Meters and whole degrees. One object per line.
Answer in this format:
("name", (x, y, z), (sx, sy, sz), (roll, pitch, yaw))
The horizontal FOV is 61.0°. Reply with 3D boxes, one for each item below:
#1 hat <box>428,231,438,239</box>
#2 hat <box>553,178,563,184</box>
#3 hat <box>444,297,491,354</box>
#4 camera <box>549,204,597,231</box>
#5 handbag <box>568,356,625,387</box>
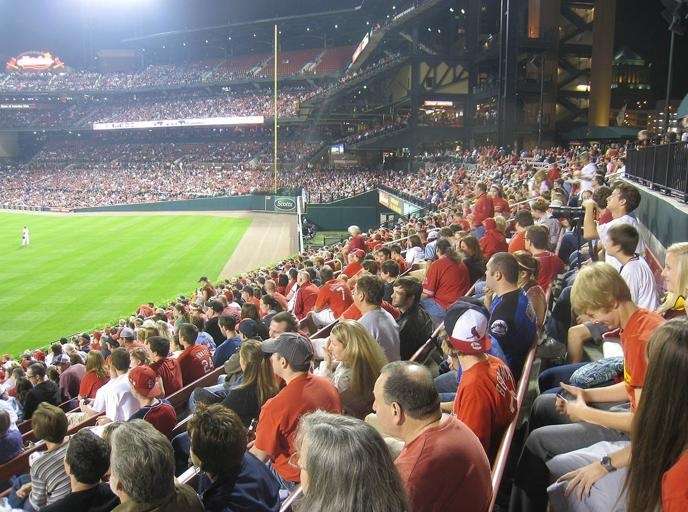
("hat", (1.948, -0.471, 12.887), (0.238, 0.205, 0.419), (3, 5, 10))
("hat", (5.508, -1.918, 15.050), (0.206, 0.079, 0.225), (1, 7, 16))
("hat", (0.993, 0.541, 4.603), (0.325, 0.259, 0.464), (-11, 33, -20))
("camera", (3.224, -0.602, 8.412), (0.428, 0.214, 0.433), (2, 1, 6))
("handbag", (2.189, 1.000, 5.055), (0.381, 0.126, 0.235), (-19, 27, 18))
